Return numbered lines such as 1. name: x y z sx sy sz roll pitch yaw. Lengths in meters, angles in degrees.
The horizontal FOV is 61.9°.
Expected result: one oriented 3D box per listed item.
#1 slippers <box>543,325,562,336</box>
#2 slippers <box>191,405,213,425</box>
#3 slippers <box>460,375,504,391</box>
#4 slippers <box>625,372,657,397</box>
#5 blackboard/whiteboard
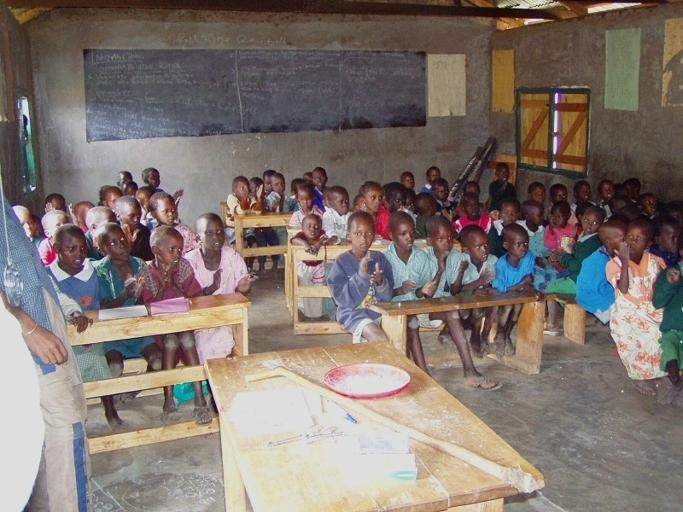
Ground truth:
1. slippers: 1.812 0.645 4.925 0.094 0.095 0.216 0 -2 -10
2. slippers: -0.831 0.952 3.398 0.101 0.072 0.198 0 -3 -19
3. slippers: 0.952 0.858 3.877 0.277 0.117 0.099 -5 4 28
4. slippers: 2.039 0.875 3.874 0.095 0.196 0.201 -10 4 -42
5. blackboard/whiteboard: -1.255 -2.432 8.387 4.872 1.355 0.082 -8 13 -15
